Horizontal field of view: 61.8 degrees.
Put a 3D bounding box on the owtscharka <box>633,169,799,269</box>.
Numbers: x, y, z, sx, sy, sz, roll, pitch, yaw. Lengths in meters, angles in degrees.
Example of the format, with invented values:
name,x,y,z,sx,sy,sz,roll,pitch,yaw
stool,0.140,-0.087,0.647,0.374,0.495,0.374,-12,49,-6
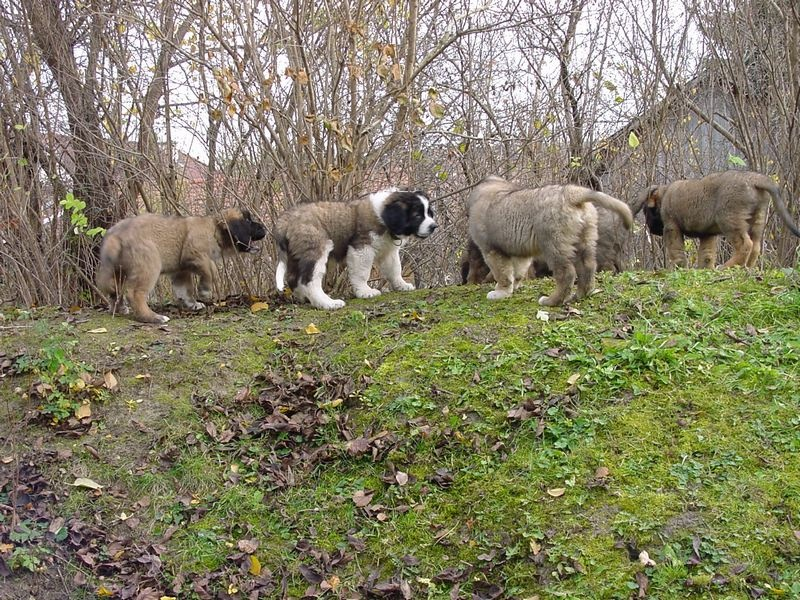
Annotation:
name,x,y,z,sx,sy,sz,roll,pitch,yaw
owtscharka,4.219,-1.059,8.991,0.590,1.301,2.281,-3,7,-21

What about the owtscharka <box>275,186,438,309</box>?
name,x,y,z,sx,sy,sz,roll,pitch,yaw
owtscharka,-0.592,-0.686,8.778,2.087,1.492,0.760,-5,17,-14

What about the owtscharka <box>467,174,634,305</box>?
name,x,y,z,sx,sy,sz,roll,pitch,yaw
owtscharka,1.572,-0.679,7.712,0.820,1.527,2.408,-13,14,-35
